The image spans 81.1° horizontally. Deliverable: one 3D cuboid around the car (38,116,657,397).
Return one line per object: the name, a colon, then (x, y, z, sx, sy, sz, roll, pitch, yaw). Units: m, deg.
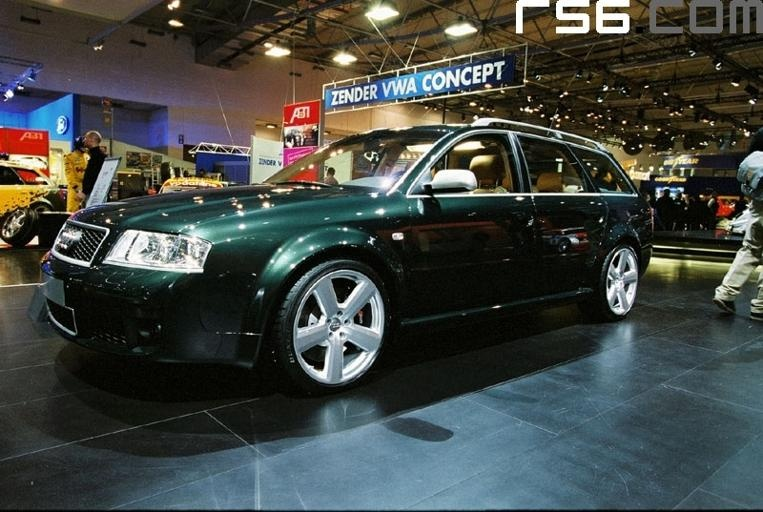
car: (0.220, -0.178, 3.702, 4.840, 1.282, 2.091, 0, 1, -31)

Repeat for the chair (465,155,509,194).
chair: (0.850, -0.672, 3.738, 0.414, 0.329, 0.290, -11, 12, -12)
